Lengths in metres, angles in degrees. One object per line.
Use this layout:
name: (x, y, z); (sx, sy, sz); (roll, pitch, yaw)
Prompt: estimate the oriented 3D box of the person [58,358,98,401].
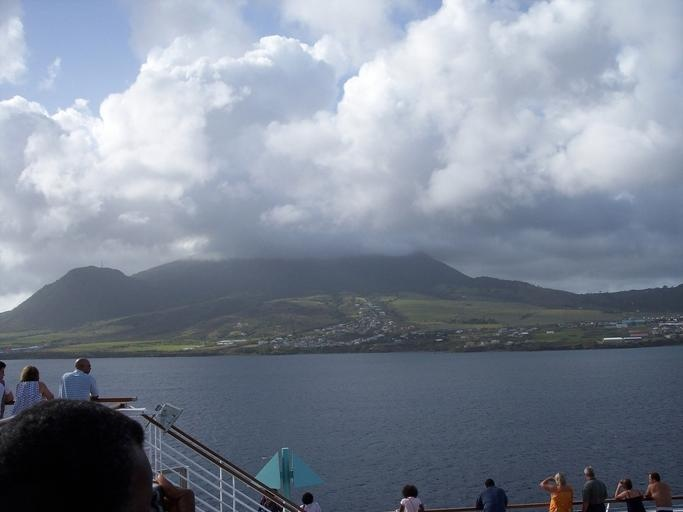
person: (-4.846, 2.273, 10.662); (0.590, 0.776, 0.858); (-3, 1, -24)
